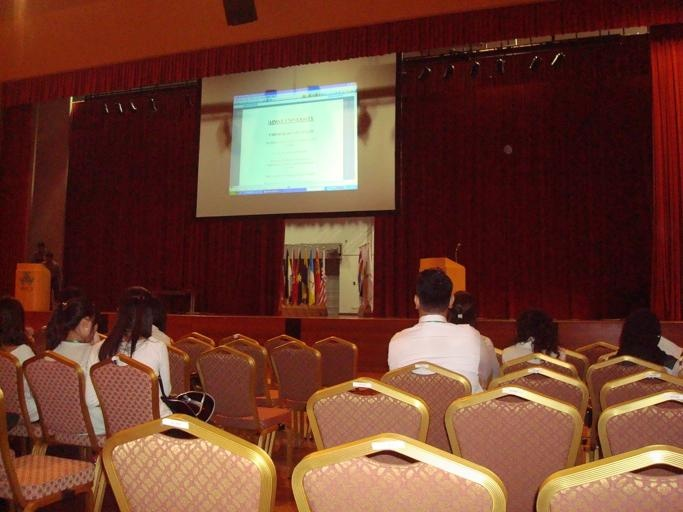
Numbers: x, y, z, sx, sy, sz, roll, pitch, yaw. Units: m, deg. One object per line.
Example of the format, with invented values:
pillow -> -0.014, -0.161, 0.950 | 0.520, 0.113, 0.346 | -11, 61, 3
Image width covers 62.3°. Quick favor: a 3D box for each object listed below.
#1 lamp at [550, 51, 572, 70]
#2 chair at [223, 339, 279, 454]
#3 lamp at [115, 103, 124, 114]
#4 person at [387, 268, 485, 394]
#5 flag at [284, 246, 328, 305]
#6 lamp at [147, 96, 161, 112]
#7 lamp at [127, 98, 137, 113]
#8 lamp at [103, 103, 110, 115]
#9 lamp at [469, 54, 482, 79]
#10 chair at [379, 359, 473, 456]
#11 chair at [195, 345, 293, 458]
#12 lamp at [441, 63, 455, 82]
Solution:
lamp -> 3.671, -3.381, 9.532 | 0.213, 0.412, 0.142 | 24, -25, -23
chair -> -0.713, 1.137, 4.171 | 0.386, 0.889, 0.466 | -5, -9, 22
lamp -> -4.879, -3.260, 12.464 | 0.173, 0.223, 0.093 | -2, -4, 39
person -> 0.534, 0.367, 3.226 | 0.513, 0.983, 0.615 | 0, 4, 5
flag -> -0.672, 0.415, 10.959 | 0.867, 1.426, 0.178 | -8, -15, 32
lamp -> -3.988, -3.258, 12.103 | 0.210, 0.448, 0.301 | 8, 22, 6
lamp -> -4.552, -3.283, 12.340 | 0.046, 0.206, 0.203 | -24, 23, 21
lamp -> -5.206, -3.275, 12.543 | 0.054, 0.480, 0.056 | -18, -29, -8
lamp -> 2.349, -3.364, 9.875 | 0.110, 0.446, 0.248 | -1, -34, -6
chair -> 0.482, 0.721, 3.139 | 0.369, 0.779, 0.486 | 3, 18, 24
chair -> -0.688, 1.108, 4.159 | 0.442, 1.070, 0.527 | -2, 4, 22
lamp -> 1.918, -3.359, 10.072 | 0.212, 0.303, 0.430 | 0, -4, 12
